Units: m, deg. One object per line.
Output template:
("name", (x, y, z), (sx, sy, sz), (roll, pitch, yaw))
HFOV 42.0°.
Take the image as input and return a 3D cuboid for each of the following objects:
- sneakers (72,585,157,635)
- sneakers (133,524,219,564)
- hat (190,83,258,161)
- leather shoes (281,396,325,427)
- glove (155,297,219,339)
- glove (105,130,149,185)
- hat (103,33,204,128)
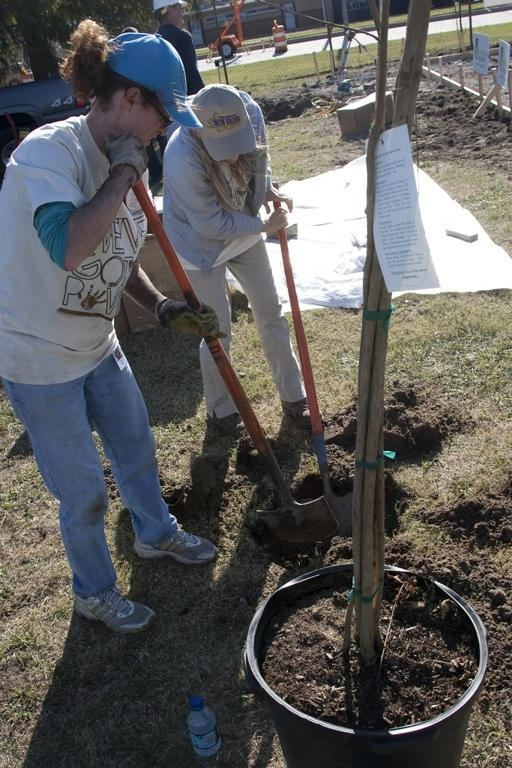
("sneakers", (-0.503, 0.819, 2.440), (0.315, 0.127, 0.128), (8, 24, 8))
("sneakers", (-0.303, 0.662, 2.647), (0.374, 0.156, 0.129), (2, 26, 7))
("hat", (-0.121, -0.991, 2.678), (0.248, 0.351, 0.154), (-16, -6, -1))
("leather shoes", (0.229, 0.152, 3.365), (0.091, 0.113, 0.261), (-37, 44, -18))
("glove", (-0.228, -0.236, 2.327), (0.204, 0.111, 0.083), (17, 34, 8))
("glove", (-0.335, -0.600, 1.776), (0.100, 0.058, 0.130), (-22, 34, 15))
("hat", (-0.277, -0.793, 1.775), (0.201, 0.236, 0.109), (-13, 26, -5))
